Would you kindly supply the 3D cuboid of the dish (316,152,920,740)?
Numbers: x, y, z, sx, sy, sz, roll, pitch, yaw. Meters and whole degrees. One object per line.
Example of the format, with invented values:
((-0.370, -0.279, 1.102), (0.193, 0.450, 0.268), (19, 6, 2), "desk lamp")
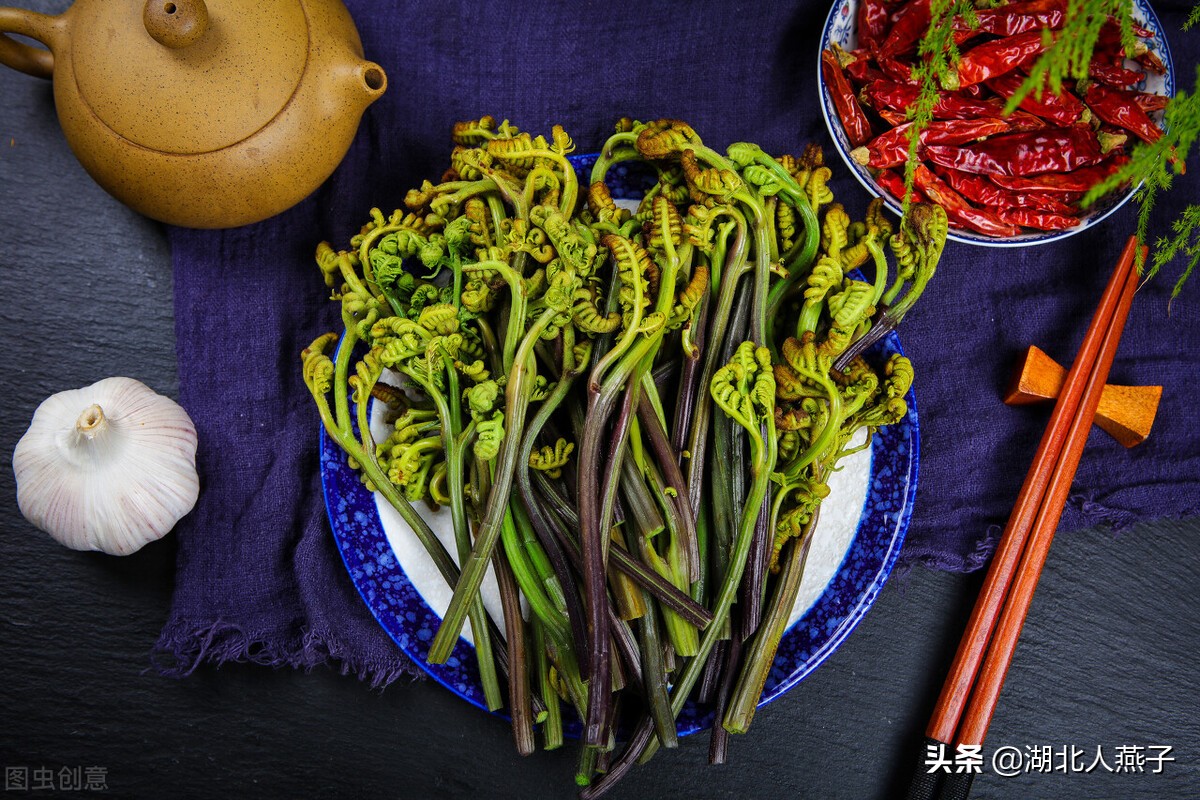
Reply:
((0.201, 0.052, 2.242), (0.855, 0.152, 0.887), (-1, 94, -1), "dish")

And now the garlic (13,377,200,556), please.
((-0.716, 0.097, 1.842), (0.247, 0.236, 0.260), (-1, 84, -13), "garlic")
